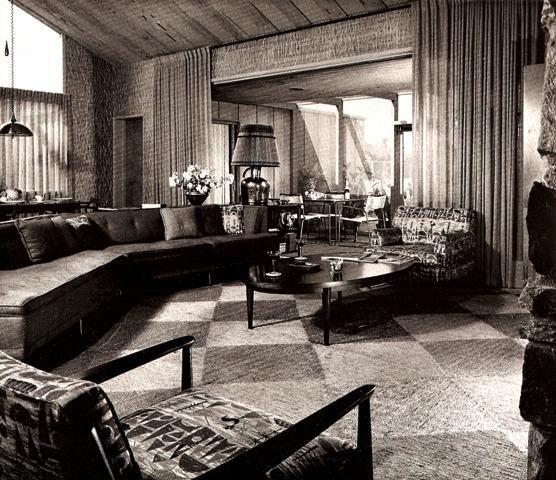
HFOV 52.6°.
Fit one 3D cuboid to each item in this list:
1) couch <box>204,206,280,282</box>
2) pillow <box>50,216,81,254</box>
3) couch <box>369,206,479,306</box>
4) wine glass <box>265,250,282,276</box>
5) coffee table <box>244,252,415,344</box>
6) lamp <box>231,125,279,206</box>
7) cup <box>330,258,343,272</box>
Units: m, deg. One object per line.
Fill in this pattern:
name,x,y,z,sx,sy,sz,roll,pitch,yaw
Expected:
couch,-0.396,0.065,5.818,0.658,0.773,0.686,1,-4,-30
pillow,-1.688,-0.043,4.495,0.067,0.274,0.258,-20,-6,-1
couch,1.365,0.019,5.244,0.797,0.939,0.791,2,2,40
wine glass,-0.035,0.177,3.992,0.105,0.209,0.134,1,-5,1
coffee table,0.366,0.360,4.030,1.254,0.469,0.854,-5,8,-32
lamp,-0.258,-0.839,6.379,0.516,0.889,0.666,-1,6,-5
cup,0.401,0.178,3.891,0.056,0.093,0.075,-2,-6,28
